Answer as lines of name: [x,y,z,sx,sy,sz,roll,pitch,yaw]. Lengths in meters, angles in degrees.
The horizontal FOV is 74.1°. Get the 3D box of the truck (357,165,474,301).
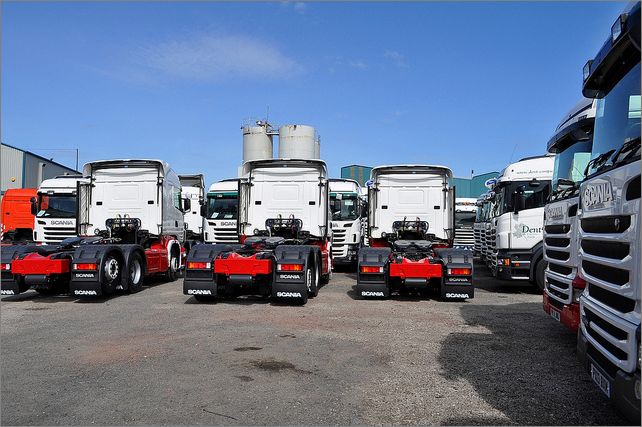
truck: [2.779,0.241,13.035,2.720,3.679,5.862,0,3,10]

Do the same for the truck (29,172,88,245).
truck: [-10.790,0.018,18.334,1.746,2.832,5.253,1,-3,-24]

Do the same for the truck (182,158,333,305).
truck: [-1.564,0.371,11.897,3.096,3.932,3.383,1,3,13]
